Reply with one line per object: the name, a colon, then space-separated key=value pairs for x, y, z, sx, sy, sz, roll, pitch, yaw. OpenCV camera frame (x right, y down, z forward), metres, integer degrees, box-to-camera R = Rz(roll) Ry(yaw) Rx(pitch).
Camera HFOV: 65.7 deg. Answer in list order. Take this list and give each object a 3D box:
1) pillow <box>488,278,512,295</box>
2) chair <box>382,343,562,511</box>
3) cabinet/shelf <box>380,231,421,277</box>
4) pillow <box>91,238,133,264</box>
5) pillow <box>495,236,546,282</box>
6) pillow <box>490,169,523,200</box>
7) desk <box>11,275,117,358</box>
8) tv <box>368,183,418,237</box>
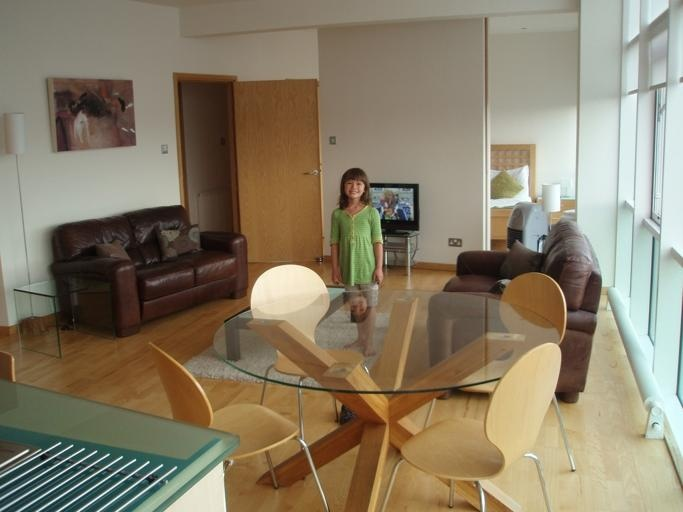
pillow: x=1.155 y=0.228 z=3.865 sx=0.143 sy=0.141 sz=0.132 roll=-2 pitch=4 yaw=0
chair: x=0.557 y=0.593 z=2.170 sx=0.417 sy=0.554 sz=0.538 roll=-2 pitch=4 yaw=-42
cabinet/shelf: x=0.831 y=-0.080 z=7.226 sx=0.684 sy=0.524 sz=0.469 roll=7 pitch=19 yaw=28
pillow: x=-2.277 y=-0.041 z=5.450 sx=0.260 sy=0.083 sz=0.272 roll=0 pitch=41 yaw=-45
pillow: x=1.627 y=0.028 z=4.790 sx=0.155 sy=0.286 sz=0.433 roll=13 pitch=9 yaw=1
pillow: x=2.834 y=-1.213 z=9.169 sx=0.638 sy=0.493 sz=0.421 roll=-2 pitch=4 yaw=-43
desk: x=-2.597 y=0.544 z=5.084 sx=0.760 sy=0.728 sz=0.748 roll=12 pitch=19 yaw=24
tv: x=0.697 y=-0.580 z=6.570 sx=0.774 sy=0.764 sz=0.258 roll=3 pitch=11 yaw=23
